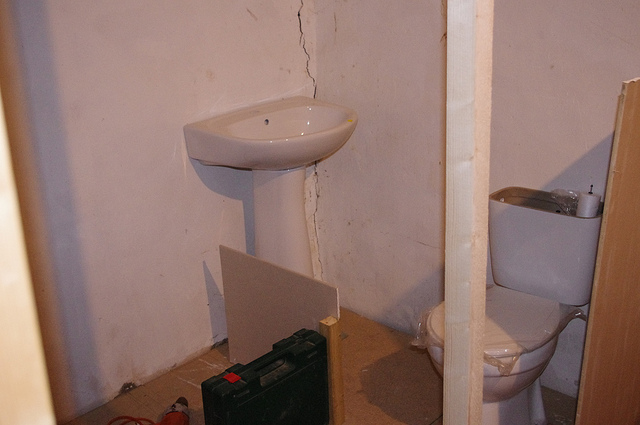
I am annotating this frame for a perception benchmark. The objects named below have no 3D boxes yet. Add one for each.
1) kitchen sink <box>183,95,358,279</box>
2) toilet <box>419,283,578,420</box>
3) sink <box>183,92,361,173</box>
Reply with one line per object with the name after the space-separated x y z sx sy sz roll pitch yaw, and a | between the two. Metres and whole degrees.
-0.152 -0.075 2.466 0.638 0.743 0.465 -18 21 -36 | kitchen sink
0.615 0.453 1.880 0.464 0.439 0.322 -27 37 -37 | toilet
-0.139 -0.326 2.427 0.737 0.288 0.476 -19 22 -37 | sink
